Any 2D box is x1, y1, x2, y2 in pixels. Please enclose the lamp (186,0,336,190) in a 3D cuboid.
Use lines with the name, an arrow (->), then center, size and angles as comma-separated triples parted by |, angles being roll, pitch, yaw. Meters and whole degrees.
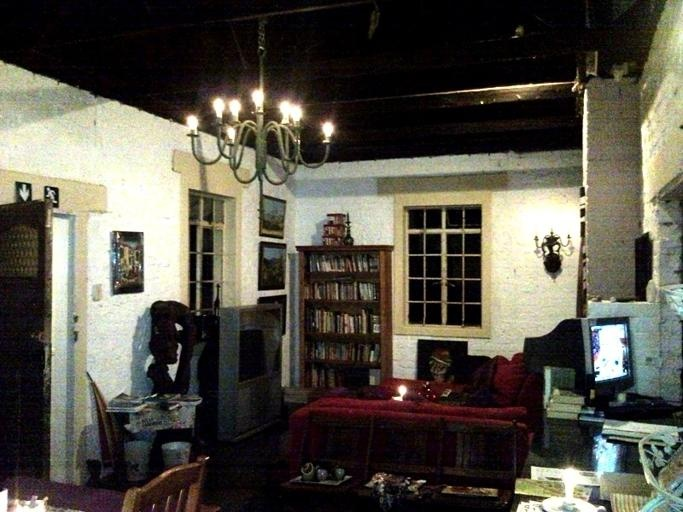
lamp -> -0.813, -1.369, 5.997 | 1.329, 1.778, 1.421 | 4, -4, -37

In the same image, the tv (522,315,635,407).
tv -> 2.121, 0.688, 5.853 | 0.823, 0.930, 1.181 | -4, -6, 33

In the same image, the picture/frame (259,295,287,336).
picture/frame -> -0.867, 0.662, 8.462 | 0.296, 0.173, 0.305 | -2, 18, 10

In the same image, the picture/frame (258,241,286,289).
picture/frame -> -0.881, 0.149, 8.342 | 0.048, 0.601, 0.648 | 2, -1, 24

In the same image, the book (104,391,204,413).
book -> -1.715, 1.318, 5.995 | 0.833, 0.168, 0.264 | 0, -2, -30
